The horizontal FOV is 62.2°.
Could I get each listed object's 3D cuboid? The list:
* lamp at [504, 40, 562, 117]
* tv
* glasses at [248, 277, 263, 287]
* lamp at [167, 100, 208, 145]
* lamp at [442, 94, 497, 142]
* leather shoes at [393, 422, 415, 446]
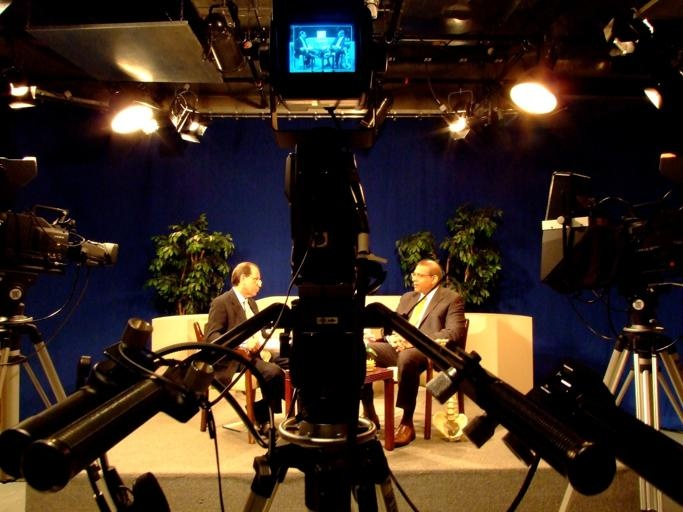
[{"bbox_3d":[1.963,-1.709,5.681,0.388,0.722,1.660,0,-1,22],"label":"lamp"},{"bbox_3d":[-0.081,-0.758,2.337,0.336,0.249,0.192,0,-4,0],"label":"tv"},{"bbox_3d":[-0.804,0.234,5.206,0.132,0.066,0.131,2,-1,30],"label":"glasses"},{"bbox_3d":[-1.706,-1.531,6.385,0.284,0.450,0.523,0,-1,26],"label":"lamp"},{"bbox_3d":[1.462,-1.590,6.854,0.450,0.528,0.327,-35,3,-21],"label":"lamp"},{"bbox_3d":[0.482,1.340,4.317,0.095,0.176,0.354,0,-1,25],"label":"leather shoes"}]
